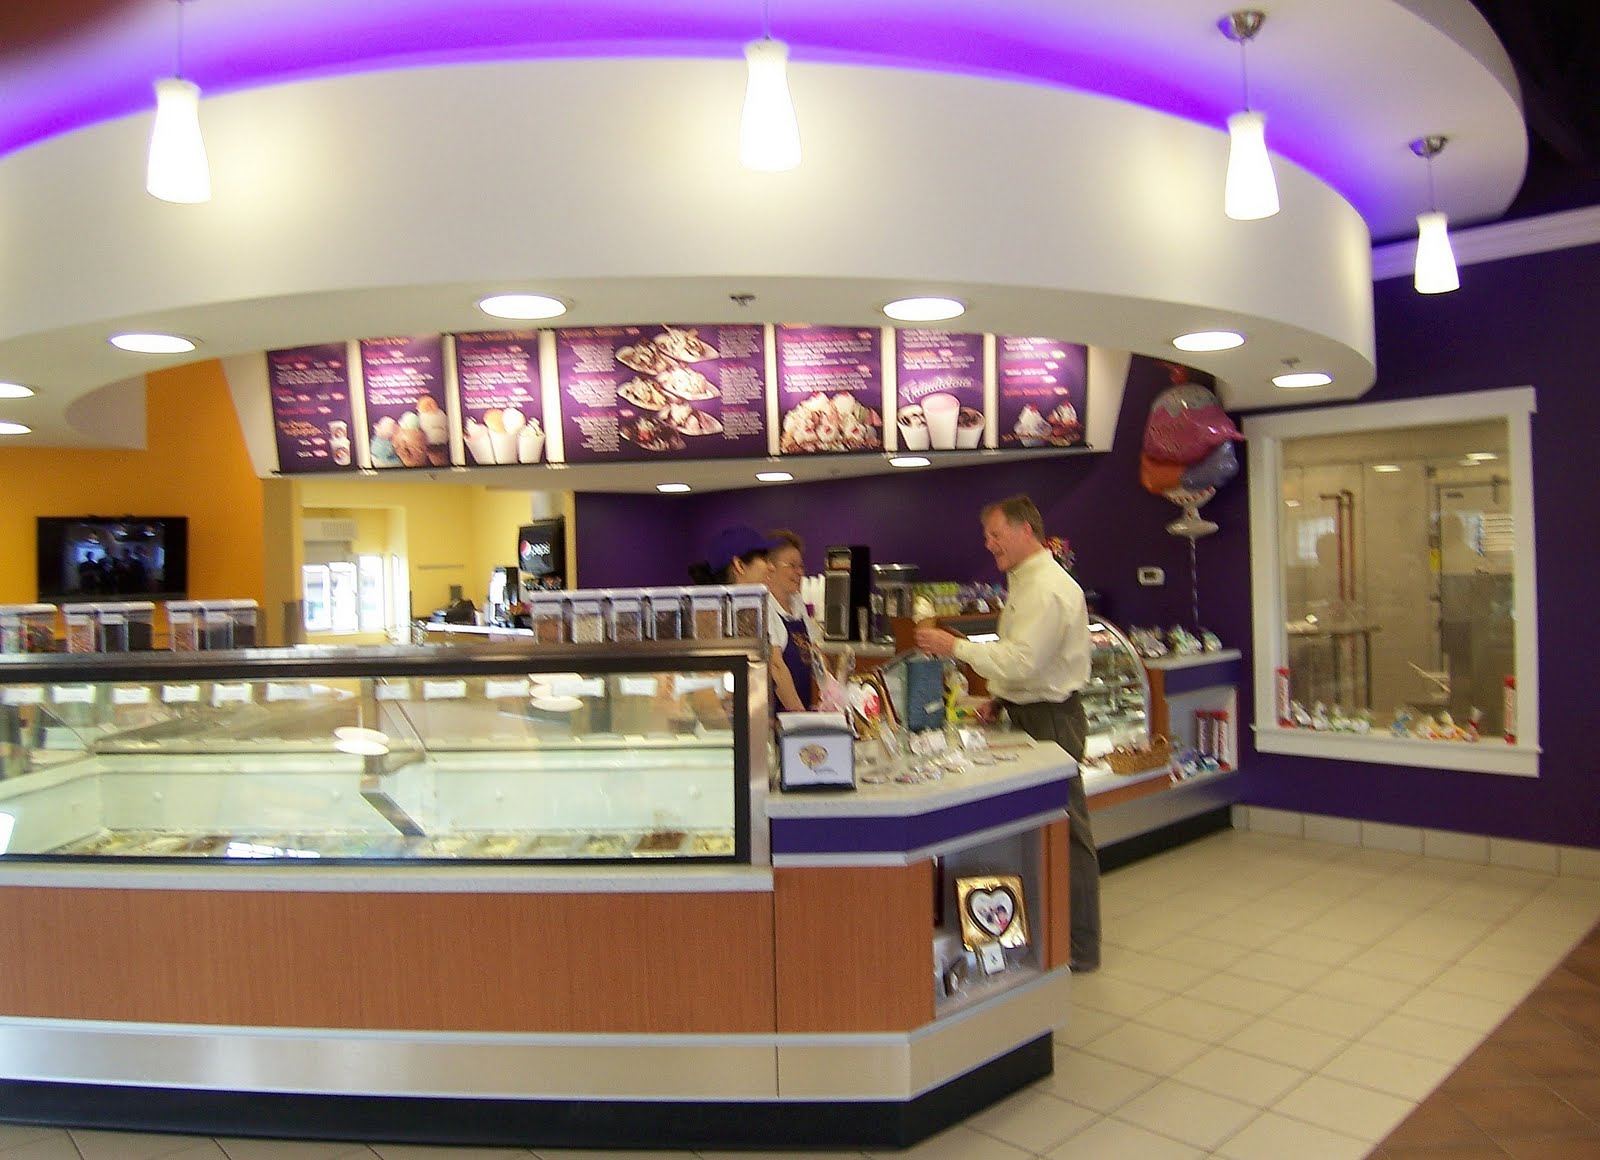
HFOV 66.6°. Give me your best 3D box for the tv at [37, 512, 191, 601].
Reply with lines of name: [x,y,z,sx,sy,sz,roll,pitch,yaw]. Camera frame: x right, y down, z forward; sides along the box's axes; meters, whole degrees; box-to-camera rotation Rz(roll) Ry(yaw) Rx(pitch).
tv: [-4.474,-0.147,7.866,0.591,0.420,0.066,-2,0,-38]

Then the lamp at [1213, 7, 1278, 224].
lamp: [1.661,-1.699,4.531,0.234,0.722,0.613,3,12,18]

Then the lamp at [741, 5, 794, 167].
lamp: [-0.083,-1.569,3.980,0.170,0.445,0.155,4,12,23]

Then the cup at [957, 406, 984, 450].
cup: [0.968,-0.847,6.861,0.188,0.202,0.205,-1,6,0]

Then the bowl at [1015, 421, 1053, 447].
bowl: [1.328,-0.818,6.919,0.181,0.128,0.044,-5,12,-23]

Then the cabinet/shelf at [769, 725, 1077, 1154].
cabinet/shelf: [0.438,1.287,4.365,1.179,1.150,0.435,-8,14,-34]

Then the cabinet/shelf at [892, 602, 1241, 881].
cabinet/shelf: [1.643,0.379,7.119,1.272,1.550,2.358,1,3,42]

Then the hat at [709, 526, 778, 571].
hat: [-0.261,-0.134,5.055,0.194,0.160,0.247,3,0,-39]

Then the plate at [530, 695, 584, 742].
plate: [-0.850,0.480,4.265,0.170,0.120,0.167,2,-2,5]
